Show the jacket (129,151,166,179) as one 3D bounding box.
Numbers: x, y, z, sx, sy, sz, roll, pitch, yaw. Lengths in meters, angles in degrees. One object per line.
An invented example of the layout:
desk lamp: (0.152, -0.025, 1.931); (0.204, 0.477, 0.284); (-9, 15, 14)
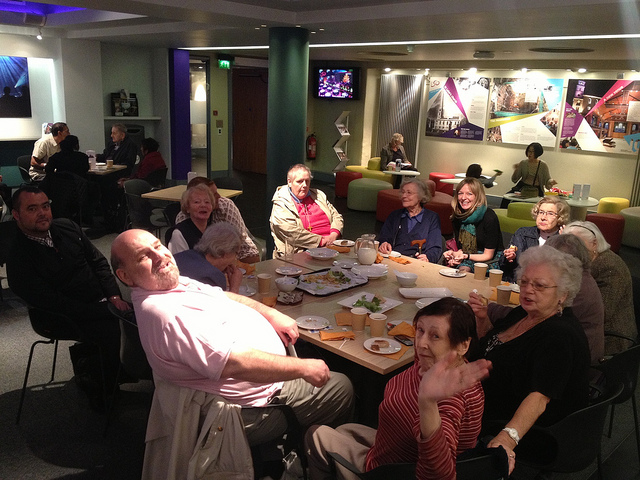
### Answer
jacket: (-2.729, -1.212, 7.385); (0.608, 0.346, 0.413); (-25, 11, -7)

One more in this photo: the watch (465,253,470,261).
watch: (1.331, 0.166, 4.089); (0.041, 0.068, 0.053); (5, 13, 18)

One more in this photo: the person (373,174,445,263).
person: (0.846, -0.128, 4.259); (0.519, 0.938, 0.708); (-15, 20, -38)

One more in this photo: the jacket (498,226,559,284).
jacket: (1.378, 0.104, 2.990); (0.242, 0.422, 0.321); (6, 17, -33)

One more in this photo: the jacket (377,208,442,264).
jacket: (0.834, -0.016, 4.163); (0.487, 0.464, 0.275); (12, -7, 26)

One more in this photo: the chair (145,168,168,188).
chair: (-2.705, -1.005, 7.312); (0.293, 0.395, 0.319); (14, 25, 19)

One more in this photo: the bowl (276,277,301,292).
bowl: (-0.216, 0.292, 2.935); (0.099, 0.046, 0.100); (0, 11, 0)

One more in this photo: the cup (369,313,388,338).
cup: (0.322, 0.493, 2.571); (0.114, 0.117, 0.115); (1, 0, 0)

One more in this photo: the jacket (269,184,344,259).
jacket: (-0.133, -0.153, 4.592); (0.774, 0.829, 0.685); (-13, 20, -26)

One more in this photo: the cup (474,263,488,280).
cup: (1.195, 0.242, 3.392); (0.113, 0.091, 0.110); (-1, 11, 0)

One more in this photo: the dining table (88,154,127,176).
dining table: (-3.375, -1.174, 7.143); (0.553, 0.269, 0.922); (-5, 14, -23)

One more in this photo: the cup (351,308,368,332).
cup: (0.218, 0.464, 2.573); (0.113, 0.114, 0.114); (1, 3, 0)

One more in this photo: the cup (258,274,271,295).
cup: (-0.360, 0.293, 2.891); (0.107, 0.111, 0.110); (1, 3, 0)

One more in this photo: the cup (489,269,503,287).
cup: (1.265, 0.281, 3.260); (0.106, 0.091, 0.110); (1, 4, 0)

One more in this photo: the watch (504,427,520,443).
watch: (0.775, 0.788, 1.831); (0.036, 0.055, 0.057); (-31, 47, -32)

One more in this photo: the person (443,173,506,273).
person: (1.404, -0.118, 4.219); (0.546, 0.920, 0.470); (-7, 16, 7)

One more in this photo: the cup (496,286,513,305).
cup: (1.200, 0.370, 2.950); (0.109, 0.114, 0.110); (1, 4, 0)

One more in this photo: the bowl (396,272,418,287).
bowl: (0.613, 0.278, 3.147); (0.107, 0.057, 0.108); (-1, 9, 0)

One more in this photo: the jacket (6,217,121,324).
jacket: (-1.916, 0.228, 3.386); (0.713, 0.672, 0.604); (3, 13, 11)
